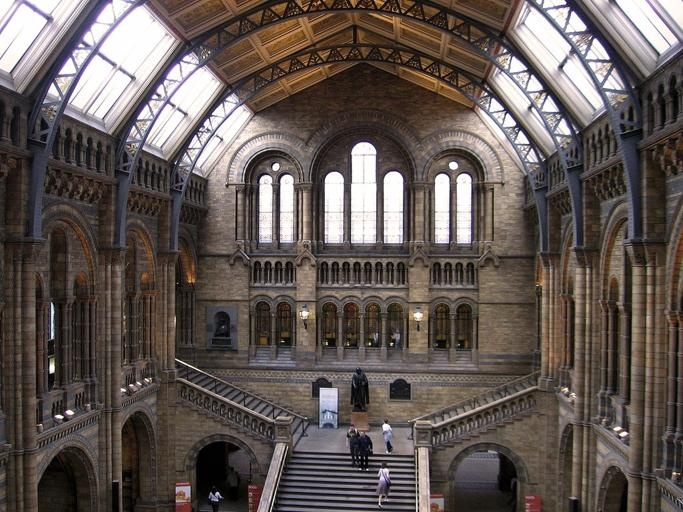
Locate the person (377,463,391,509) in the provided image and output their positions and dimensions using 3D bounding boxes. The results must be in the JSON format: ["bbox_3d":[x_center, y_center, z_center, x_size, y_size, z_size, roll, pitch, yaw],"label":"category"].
[{"bbox_3d":[1.743,9.308,31.929,0.547,1.772,1.595,0,-10,4],"label":"person"}]

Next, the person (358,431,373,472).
[{"bbox_3d":[0.965,8.381,33.363,0.524,1.417,0.510,-2,-10,13],"label":"person"}]

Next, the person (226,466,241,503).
[{"bbox_3d":[-5.388,10.962,38.082,0.623,1.434,2.598,2,-10,-8],"label":"person"}]

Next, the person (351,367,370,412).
[{"bbox_3d":[0.908,6.579,38.474,0.871,2.061,1.168,0,-9,1],"label":"person"}]

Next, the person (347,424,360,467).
[{"bbox_3d":[0.514,8.172,33.752,0.499,1.715,0.987,0,-9,1],"label":"person"}]
